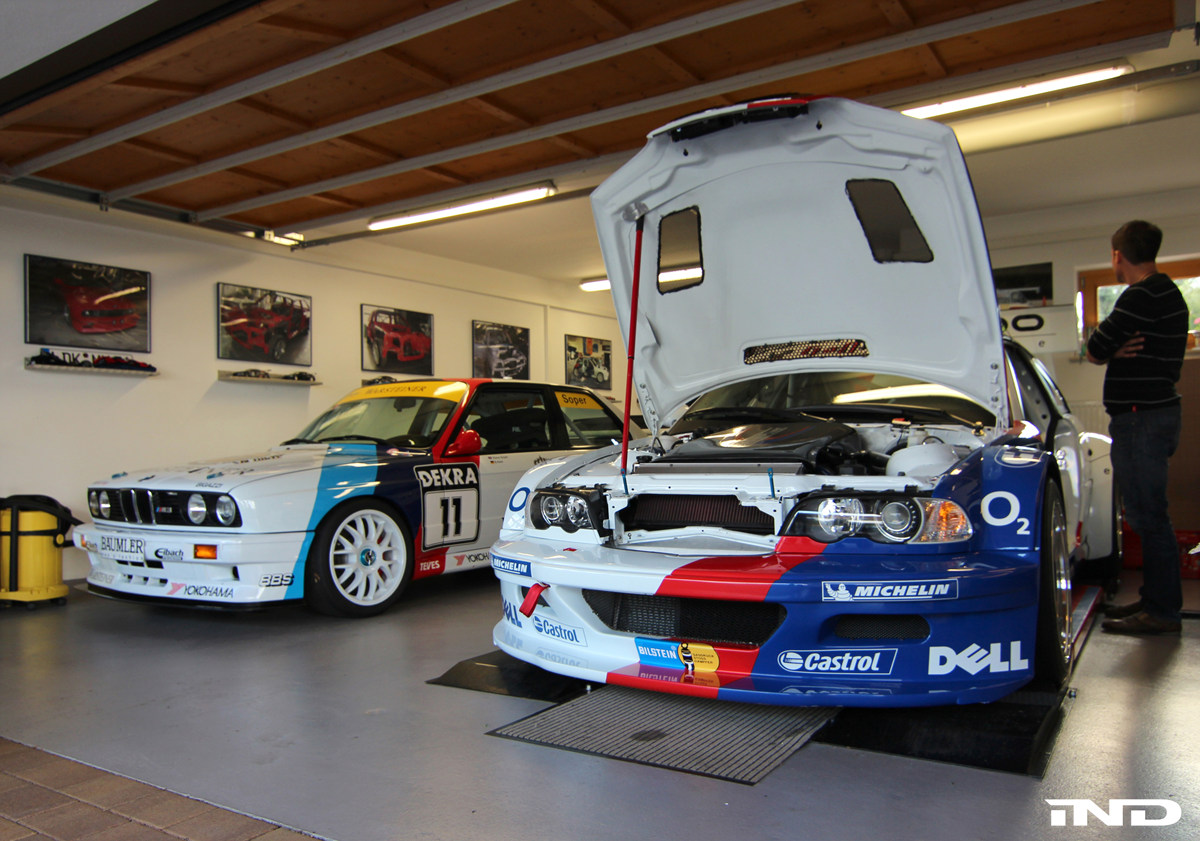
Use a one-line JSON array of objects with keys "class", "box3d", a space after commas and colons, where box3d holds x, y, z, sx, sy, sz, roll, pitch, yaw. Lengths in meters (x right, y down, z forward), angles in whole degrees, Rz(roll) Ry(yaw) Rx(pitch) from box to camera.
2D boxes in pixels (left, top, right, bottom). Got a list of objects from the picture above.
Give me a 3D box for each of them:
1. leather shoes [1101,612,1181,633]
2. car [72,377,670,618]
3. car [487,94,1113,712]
[{"class": "leather shoes", "box3d": [3.109, 1.180, 4.470, 0.465, 0.123, 0.150, 1, -3, 16]}, {"class": "car", "box3d": [-1.375, 0.502, 6.305, 1.924, 1.148, 4.419, -2, -1, 40]}, {"class": "car", "box3d": [0.795, -0.063, 3.635, 2.646, 2.609, 1.533, -2, 2, 17]}]
